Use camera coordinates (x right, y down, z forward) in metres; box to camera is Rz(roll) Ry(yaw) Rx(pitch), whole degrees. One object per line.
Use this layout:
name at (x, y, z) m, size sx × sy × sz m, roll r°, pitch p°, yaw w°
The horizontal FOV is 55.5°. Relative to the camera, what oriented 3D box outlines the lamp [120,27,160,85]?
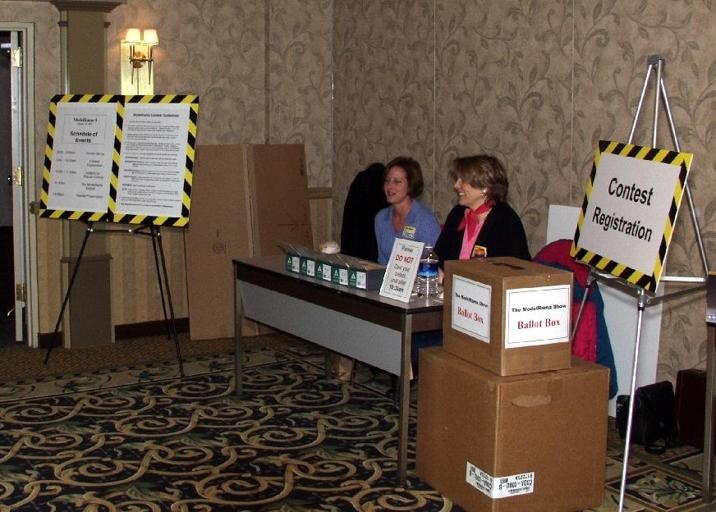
lamp at (-1.951, -1.742, 6.055) m, size 0.290 × 0.549 × 0.126 m, roll -5°, pitch 12°, yaw -27°
